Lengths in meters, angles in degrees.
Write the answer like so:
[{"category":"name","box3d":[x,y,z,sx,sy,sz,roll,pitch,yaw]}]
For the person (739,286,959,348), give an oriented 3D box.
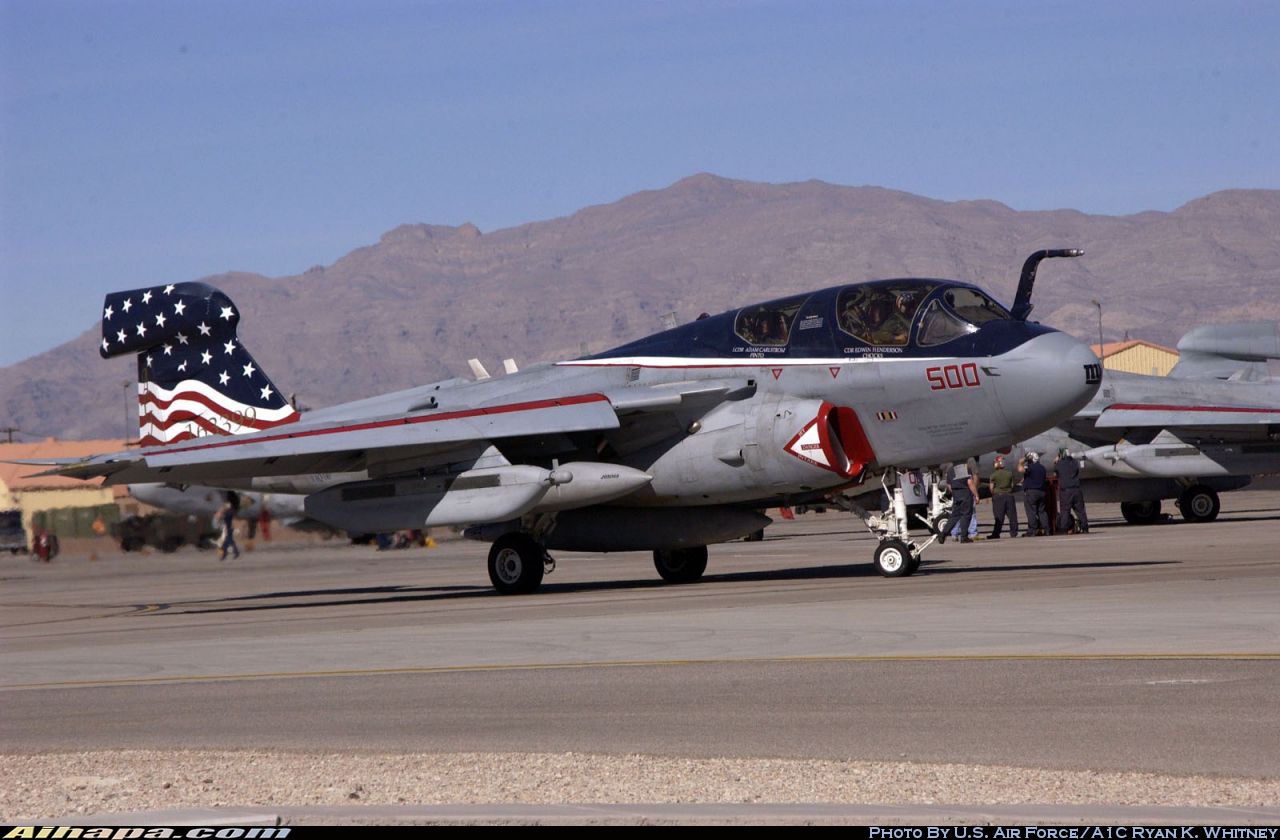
[{"category":"person","box3d":[2.993,-1.579,25.954,2.151,0.393,1.389,-8,1,23]}]
